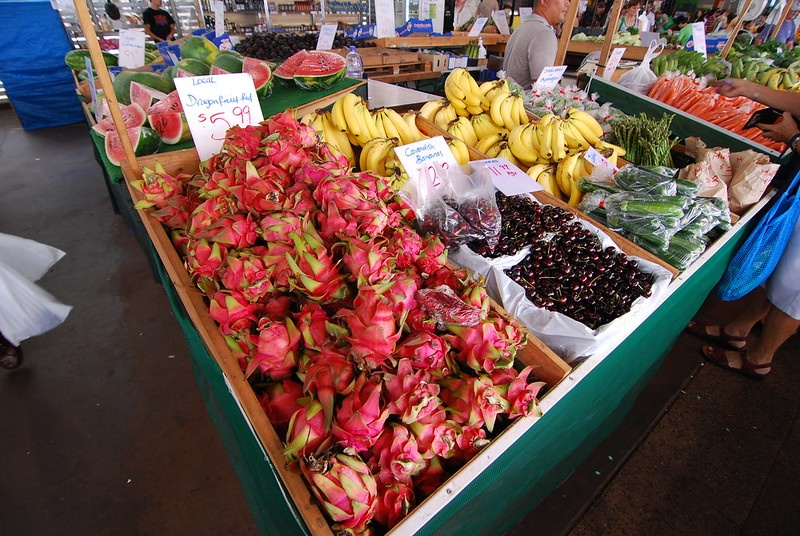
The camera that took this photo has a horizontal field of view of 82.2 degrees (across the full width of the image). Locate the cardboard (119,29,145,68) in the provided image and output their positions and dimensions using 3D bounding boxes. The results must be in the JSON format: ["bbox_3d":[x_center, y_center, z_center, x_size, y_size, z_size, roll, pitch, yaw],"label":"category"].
[{"bbox_3d":[-2.392,-1.928,4.050,0.199,0.336,0.019,-10,56,-33],"label":"cardboard"}]

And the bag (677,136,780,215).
[{"bbox_3d":[2.211,-0.614,3.102,0.540,0.495,0.397,-3,32,-11],"label":"bag"}]

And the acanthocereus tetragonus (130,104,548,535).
[{"bbox_3d":[-0.483,0.219,2.666,1.383,0.718,2.367,-33,71,-20],"label":"acanthocereus tetragonus"}]

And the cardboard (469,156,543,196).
[{"bbox_3d":[0.685,-0.540,2.780,0.273,0.034,0.309,-11,52,-28],"label":"cardboard"}]

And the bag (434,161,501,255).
[{"bbox_3d":[0.332,-0.336,2.692,0.373,0.216,0.469,-12,79,-45],"label":"bag"}]

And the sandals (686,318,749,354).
[{"bbox_3d":[2.502,0.551,3.613,0.408,0.135,0.147,28,62,36],"label":"sandals"}]

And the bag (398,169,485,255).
[{"bbox_3d":[0.243,-0.312,2.724,0.435,0.212,0.497,-23,76,-26],"label":"bag"}]
